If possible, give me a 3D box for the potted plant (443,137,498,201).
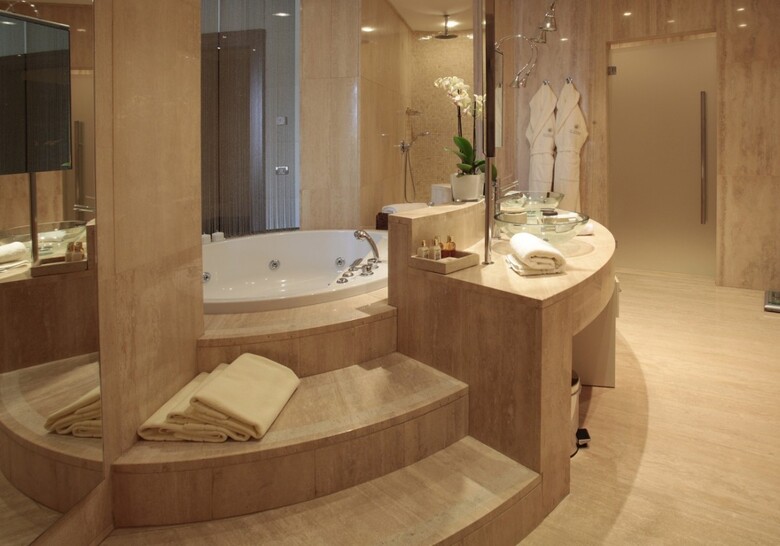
[{"bbox_3d":[0.456,-0.620,3.404,0.189,0.367,0.268,-1,12,7],"label":"potted plant"}]

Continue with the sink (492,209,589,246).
[{"bbox_3d":[0.763,-0.253,2.989,0.286,0.102,0.292,8,14,38],"label":"sink"}]

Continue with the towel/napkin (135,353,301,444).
[{"bbox_3d":[-0.682,0.499,2.353,0.540,0.195,0.424,-3,13,2],"label":"towel/napkin"}]

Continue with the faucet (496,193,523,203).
[{"bbox_3d":[0.765,-0.472,3.612,0.096,0.030,0.110,-6,12,-3],"label":"faucet"}]

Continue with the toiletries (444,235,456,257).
[{"bbox_3d":[0.285,-0.138,2.814,0.053,0.098,0.132,-5,13,-8],"label":"toiletries"}]

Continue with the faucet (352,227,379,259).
[{"bbox_3d":[-0.153,-0.217,4.030,0.153,0.219,0.523,-3,13,-1],"label":"faucet"}]

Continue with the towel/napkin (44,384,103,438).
[{"bbox_3d":[-1.057,0.470,1.920,0.138,0.054,0.145,3,5,13],"label":"towel/napkin"}]
